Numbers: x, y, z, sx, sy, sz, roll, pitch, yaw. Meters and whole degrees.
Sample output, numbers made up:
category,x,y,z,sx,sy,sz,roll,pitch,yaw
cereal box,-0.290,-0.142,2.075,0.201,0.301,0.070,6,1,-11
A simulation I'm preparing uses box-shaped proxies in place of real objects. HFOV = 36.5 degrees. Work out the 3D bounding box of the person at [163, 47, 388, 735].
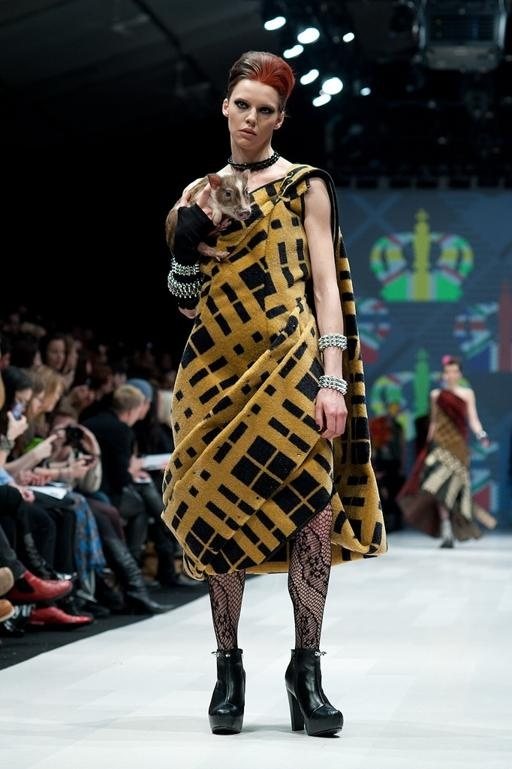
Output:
category,x,y,z,sx,sy,sz,roll,pitch,yaw
person,0.026,0.027,1.557,0.446,1.415,0.450,-5,9,-11

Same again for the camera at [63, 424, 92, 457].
category,x,y,z,sx,sy,sz,roll,pitch,yaw
camera,-0.884,0.271,3.801,0.104,0.149,0.161,0,2,-14

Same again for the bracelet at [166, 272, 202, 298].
category,x,y,z,sx,sy,sz,roll,pitch,yaw
bracelet,-0.147,-0.204,1.634,0.060,0.026,0.062,5,24,1

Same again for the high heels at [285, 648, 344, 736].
category,x,y,z,sx,sy,sz,roll,pitch,yaw
high heels,0.115,0.601,1.494,0.096,0.195,0.127,-4,9,-8

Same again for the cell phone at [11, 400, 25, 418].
category,x,y,z,sx,sy,sz,roll,pitch,yaw
cell phone,-1.003,0.102,3.270,0.046,0.040,0.104,-14,30,7
